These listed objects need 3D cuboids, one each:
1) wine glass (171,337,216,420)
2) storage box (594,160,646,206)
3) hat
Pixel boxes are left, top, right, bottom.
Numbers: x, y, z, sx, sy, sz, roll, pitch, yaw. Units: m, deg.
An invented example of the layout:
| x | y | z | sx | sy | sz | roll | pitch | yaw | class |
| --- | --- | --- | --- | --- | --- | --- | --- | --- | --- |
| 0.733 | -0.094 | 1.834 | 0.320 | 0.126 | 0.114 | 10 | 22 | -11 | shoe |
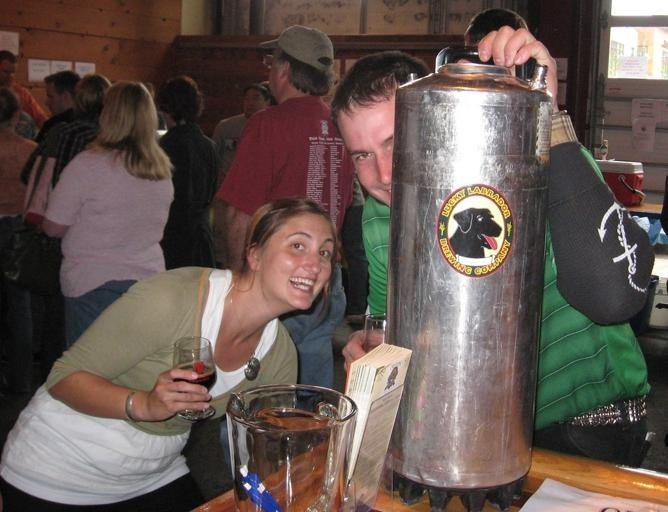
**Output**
| x | y | z | sx | sy | sz | roll | pitch | yaw | class |
| --- | --- | --- | --- | --- | --- | --- | --- | --- | --- |
| -0.383 | 0.364 | 1.709 | 0.116 | 0.274 | 0.315 | -1 | 6 | -13 | wine glass |
| 2.561 | -0.662 | 5.417 | 0.320 | 0.311 | 0.439 | -9 | 12 | -3 | storage box |
| -0.180 | -1.003 | 2.967 | 0.349 | 0.190 | 0.255 | 15 | 12 | 22 | hat |
